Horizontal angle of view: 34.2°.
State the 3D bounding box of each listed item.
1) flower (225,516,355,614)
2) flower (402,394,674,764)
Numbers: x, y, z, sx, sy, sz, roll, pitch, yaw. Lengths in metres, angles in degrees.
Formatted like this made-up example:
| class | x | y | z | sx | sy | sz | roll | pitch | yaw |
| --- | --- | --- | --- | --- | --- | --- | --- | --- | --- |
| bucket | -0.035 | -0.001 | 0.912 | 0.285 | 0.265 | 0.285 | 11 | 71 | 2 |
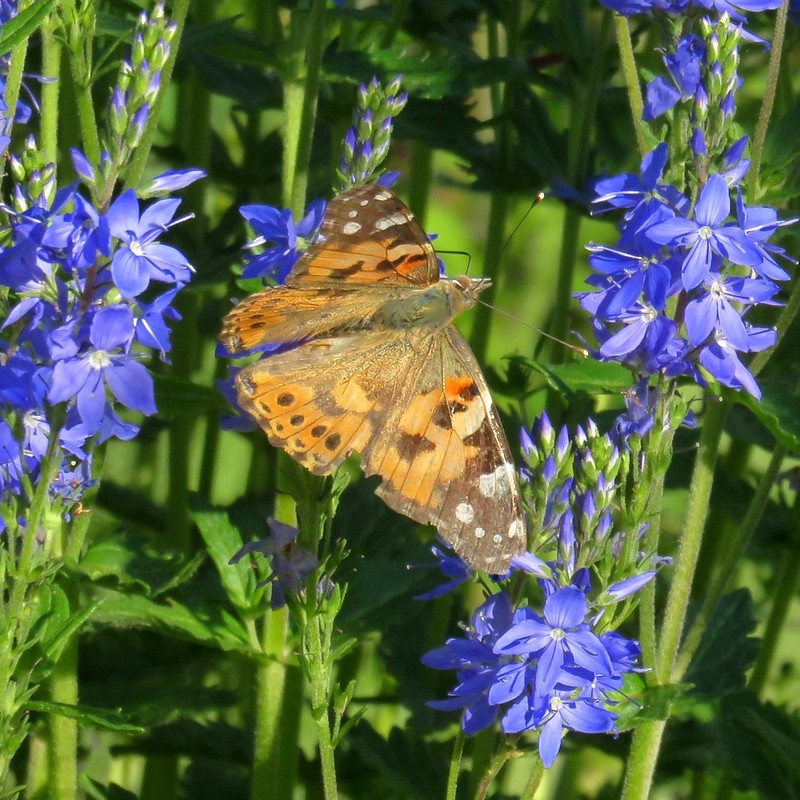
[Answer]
| class | x | y | z | sx | sy | sz | roll | pitch | yaw |
| --- | --- | --- | --- | --- | --- | --- | --- | --- | --- |
| flower | -0.222 | 0.302 | 2.354 | 0.225 | 0.207 | 0.088 | 19 | 32 | 24 |
| flower | 0.257 | 0.334 | 2.336 | 0.416 | 0.598 | 0.542 | 12 | 29 | 12 |
